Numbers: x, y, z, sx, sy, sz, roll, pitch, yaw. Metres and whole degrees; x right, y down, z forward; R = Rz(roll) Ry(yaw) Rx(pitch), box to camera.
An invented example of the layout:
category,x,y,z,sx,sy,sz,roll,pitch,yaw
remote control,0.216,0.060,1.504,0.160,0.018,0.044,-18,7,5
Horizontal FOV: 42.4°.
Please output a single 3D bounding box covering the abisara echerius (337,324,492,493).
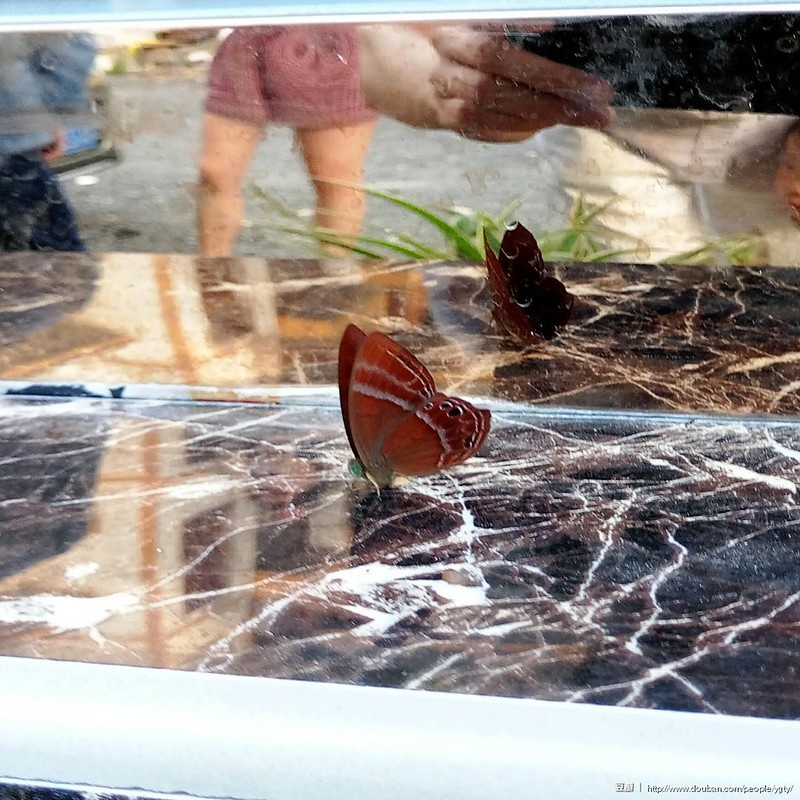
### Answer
category,x,y,z,sx,sy,sz,roll,pitch,yaw
abisara echerius,0.024,0.018,0.862,0.161,0.194,0.122,-4,71,9
